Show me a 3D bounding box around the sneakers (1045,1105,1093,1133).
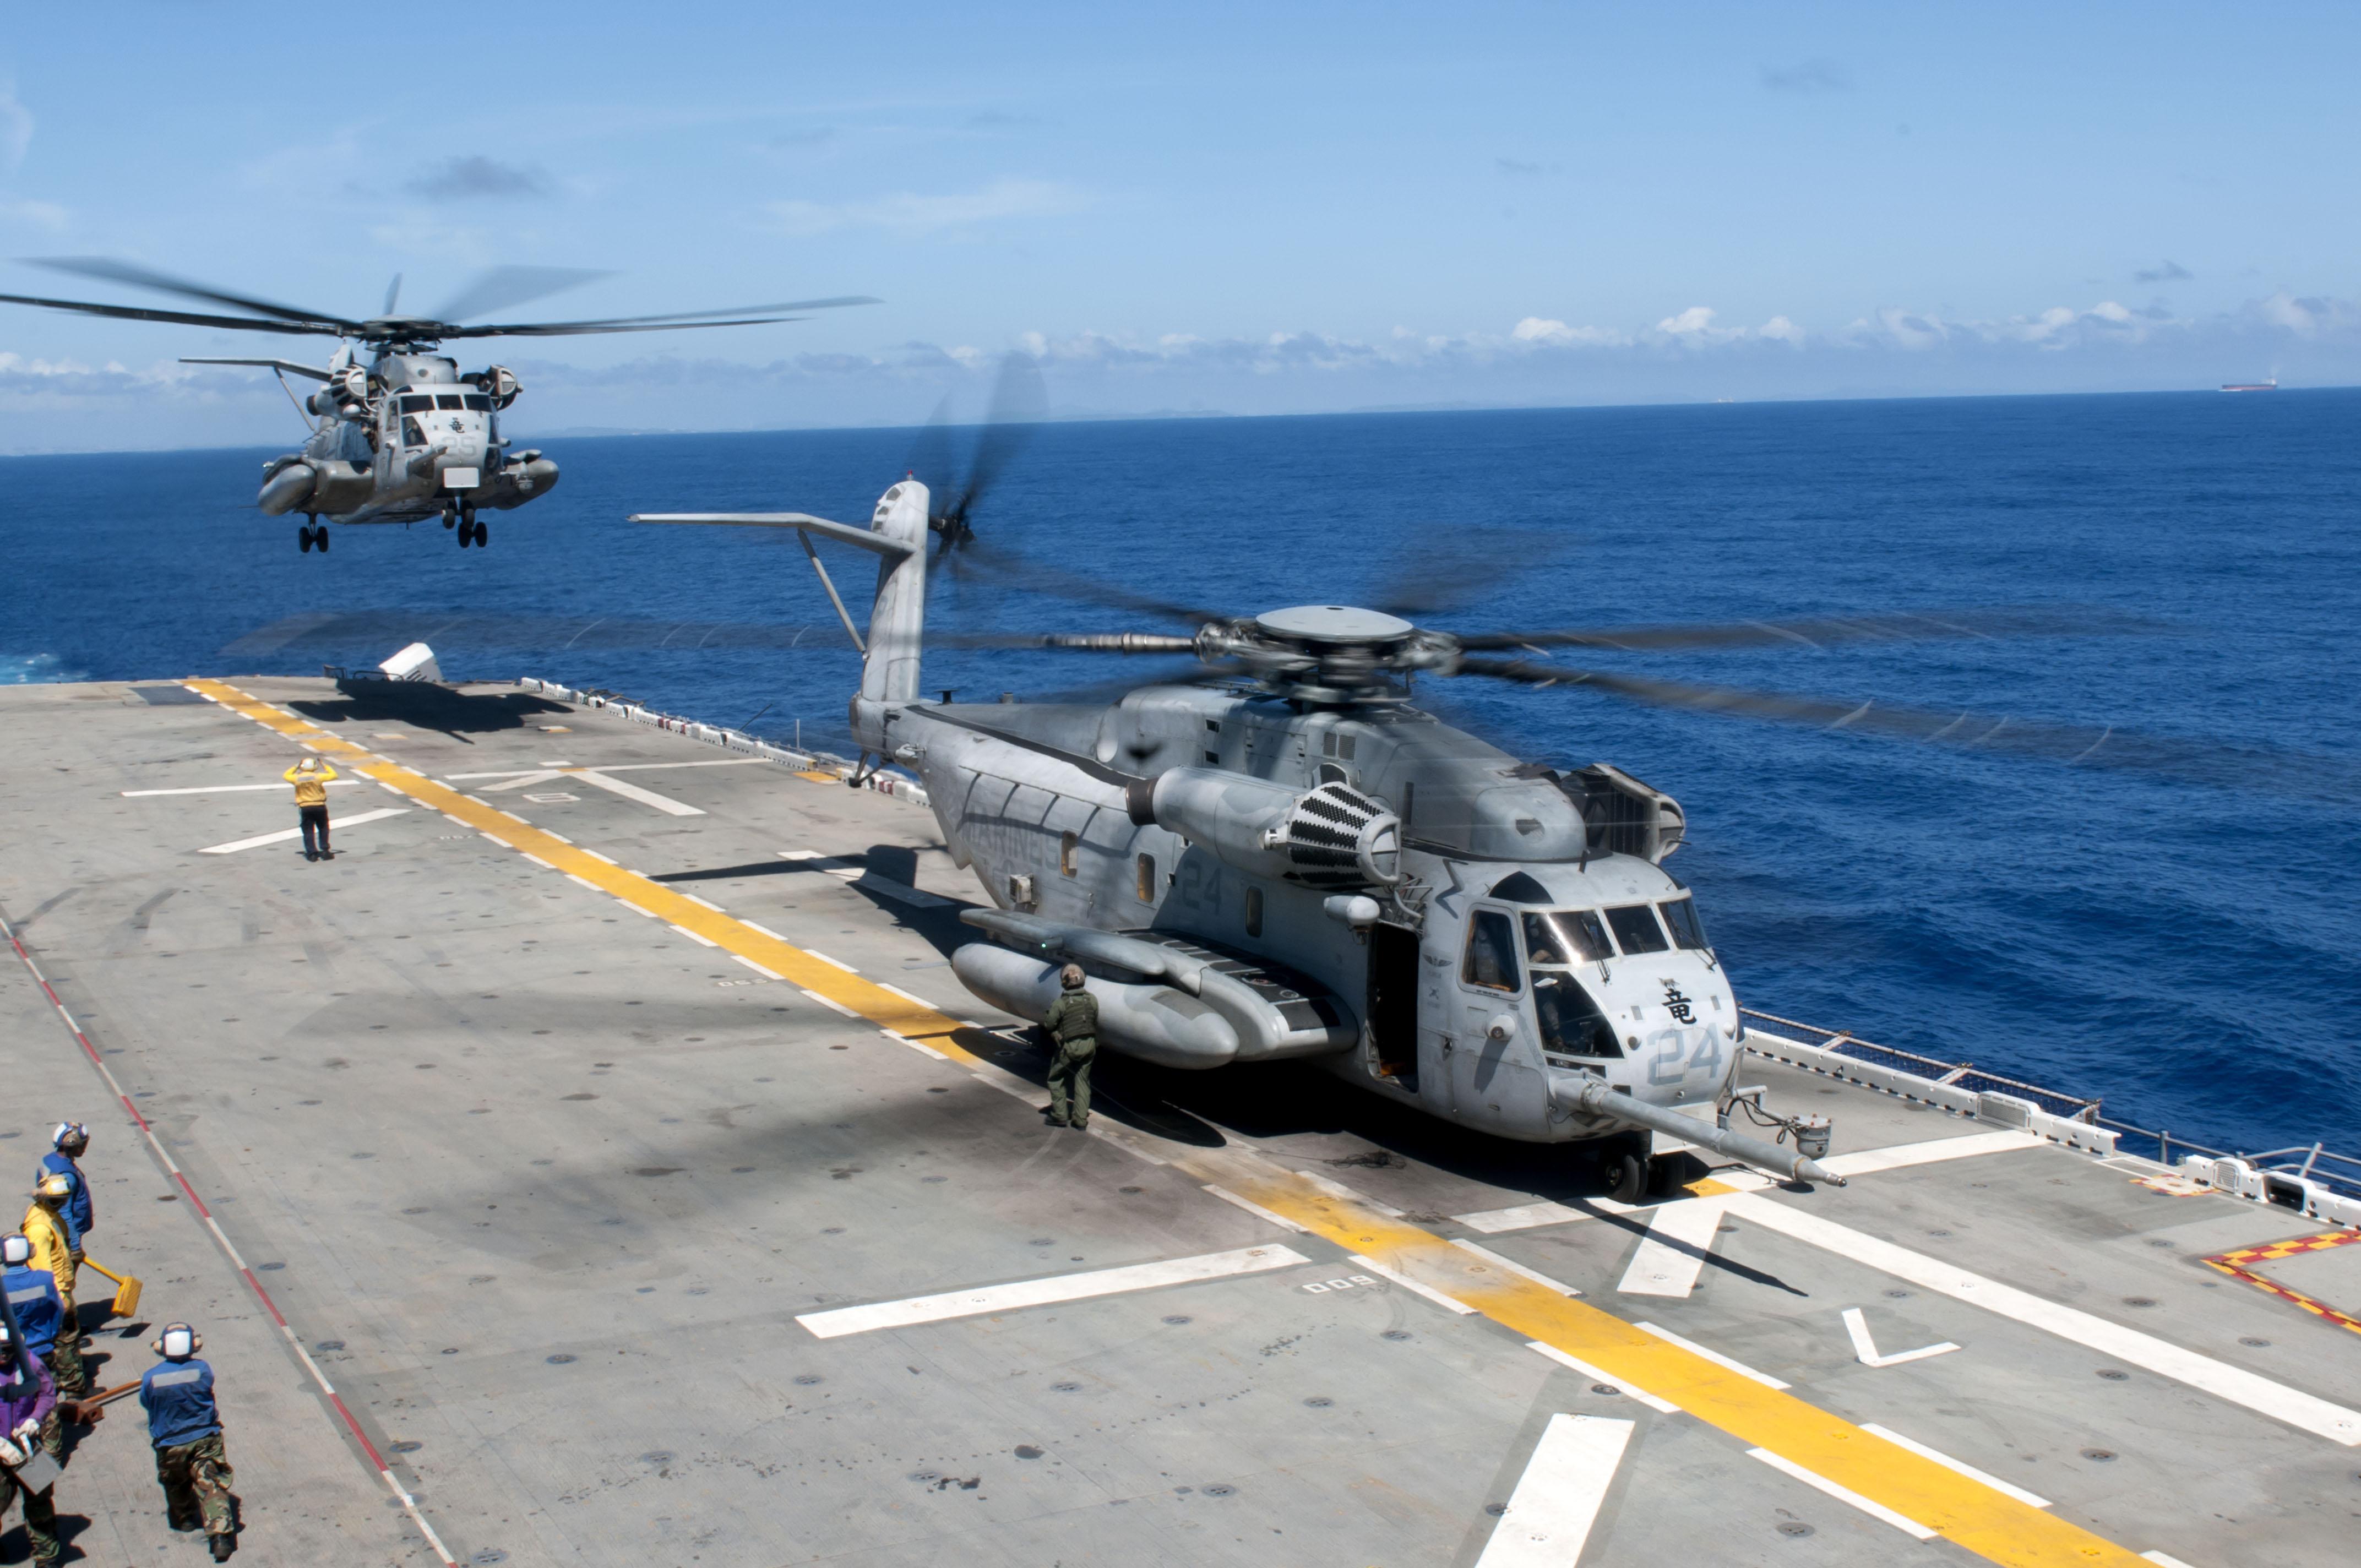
[{"bbox_3d":[-1.614,4.819,25.596,0.805,0.204,0.302,3,5,44],"label":"sneakers"}]
